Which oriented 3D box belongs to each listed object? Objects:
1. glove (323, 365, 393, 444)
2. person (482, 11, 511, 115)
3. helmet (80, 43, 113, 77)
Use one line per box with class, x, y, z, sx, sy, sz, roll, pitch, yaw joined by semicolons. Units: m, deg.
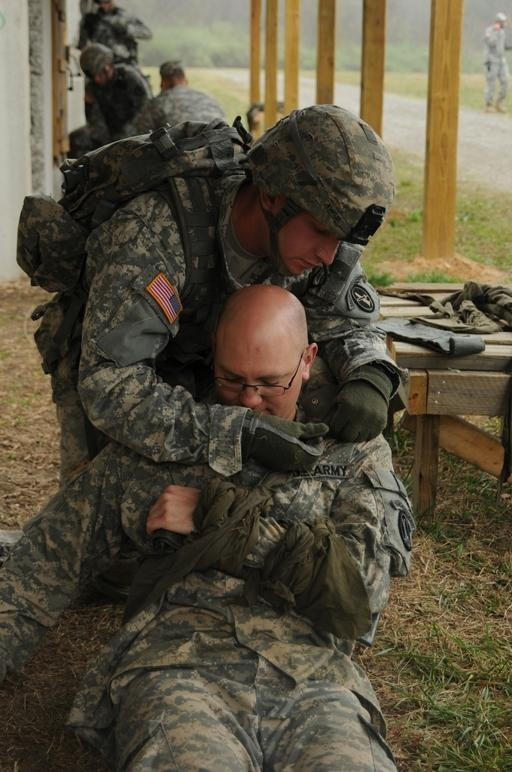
glove;0.330;0.063;2.578;0.195;0.112;0.242;21;46;-14
person;1.968;-2.643;6.466;0.236;0.750;0.506;7;14;9
helmet;-2.144;-4.434;10.727;0.377;0.395;0.510;-6;17;-35
